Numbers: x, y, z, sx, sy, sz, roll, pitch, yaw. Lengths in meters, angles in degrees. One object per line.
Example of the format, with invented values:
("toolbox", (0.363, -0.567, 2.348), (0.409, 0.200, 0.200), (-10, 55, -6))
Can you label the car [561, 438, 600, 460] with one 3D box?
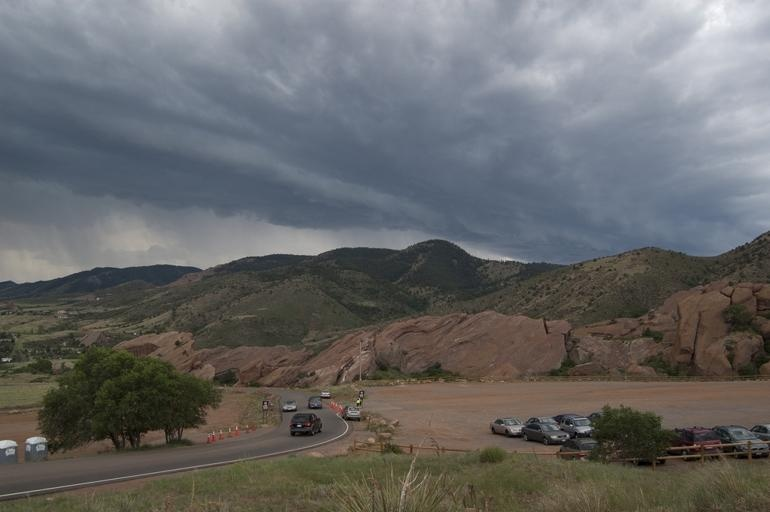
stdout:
("car", (14.626, 14.513, 40.815), (2.589, 1.244, 5.011), (-4, -14, 16))

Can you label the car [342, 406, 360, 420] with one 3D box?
("car", (-3.732, 17.360, 59.481), (1.126, 0.858, 2.306), (3, -7, -7))

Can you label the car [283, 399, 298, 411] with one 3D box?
("car", (-12.606, 19.757, 70.858), (1.846, 1.262, 2.191), (0, -13, -3))

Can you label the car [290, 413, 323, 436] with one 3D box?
("car", (-7.523, 15.893, 50.760), (2.790, 1.908, 1.789), (11, -18, -39))
